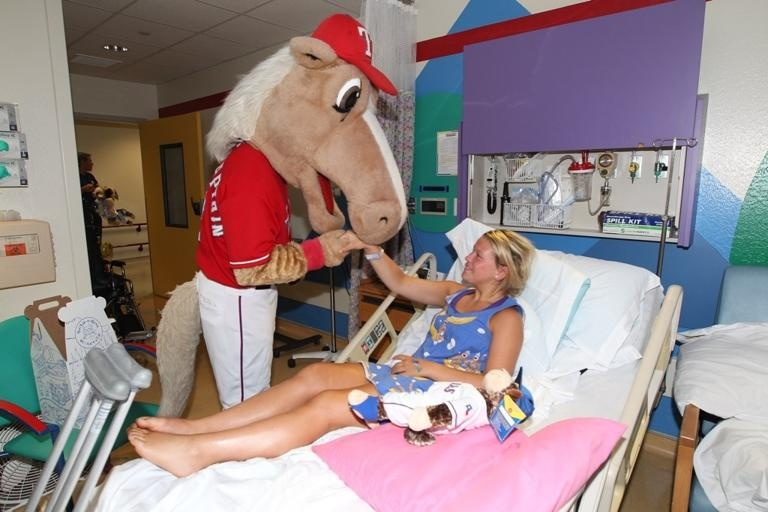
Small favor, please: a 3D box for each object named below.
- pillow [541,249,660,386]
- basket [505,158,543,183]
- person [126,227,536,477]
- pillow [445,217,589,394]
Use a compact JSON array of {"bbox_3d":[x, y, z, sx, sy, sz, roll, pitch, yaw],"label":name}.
[{"bbox_3d":[1.320,0.375,2.884,0.621,0.623,0.168,11,-14,32],"label":"pillow"},{"bbox_3d":[1.010,-0.619,3.547,0.256,0.194,0.144,5,13,25],"label":"basket"},{"bbox_3d":[-0.234,0.400,2.532,2.169,0.981,1.052,-7,8,-17],"label":"person"},{"bbox_3d":[0.729,0.316,3.044,0.796,0.251,0.827,23,49,21],"label":"pillow"}]
